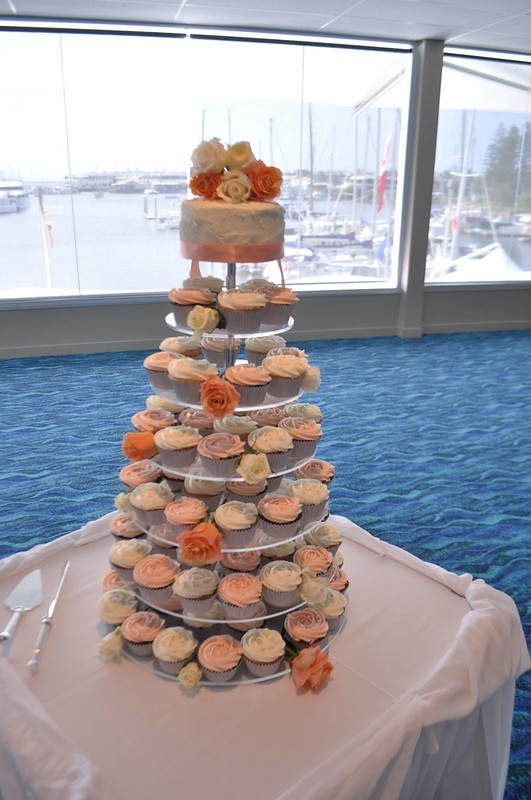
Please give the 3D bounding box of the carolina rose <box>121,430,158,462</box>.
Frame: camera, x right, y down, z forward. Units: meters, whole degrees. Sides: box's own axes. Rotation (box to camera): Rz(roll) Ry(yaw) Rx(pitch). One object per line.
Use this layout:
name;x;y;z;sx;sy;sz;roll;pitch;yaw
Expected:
carolina rose;-0.309;0.115;1.394;0.082;0.084;0.094;0;13;-12

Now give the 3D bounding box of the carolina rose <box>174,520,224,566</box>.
carolina rose;-0.130;0.317;1.253;0.123;0.099;0.074;-9;17;-42

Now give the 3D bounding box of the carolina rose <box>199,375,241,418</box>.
carolina rose;-0.114;-0.010;1.248;0.071;0.087;0.118;-2;13;-21
